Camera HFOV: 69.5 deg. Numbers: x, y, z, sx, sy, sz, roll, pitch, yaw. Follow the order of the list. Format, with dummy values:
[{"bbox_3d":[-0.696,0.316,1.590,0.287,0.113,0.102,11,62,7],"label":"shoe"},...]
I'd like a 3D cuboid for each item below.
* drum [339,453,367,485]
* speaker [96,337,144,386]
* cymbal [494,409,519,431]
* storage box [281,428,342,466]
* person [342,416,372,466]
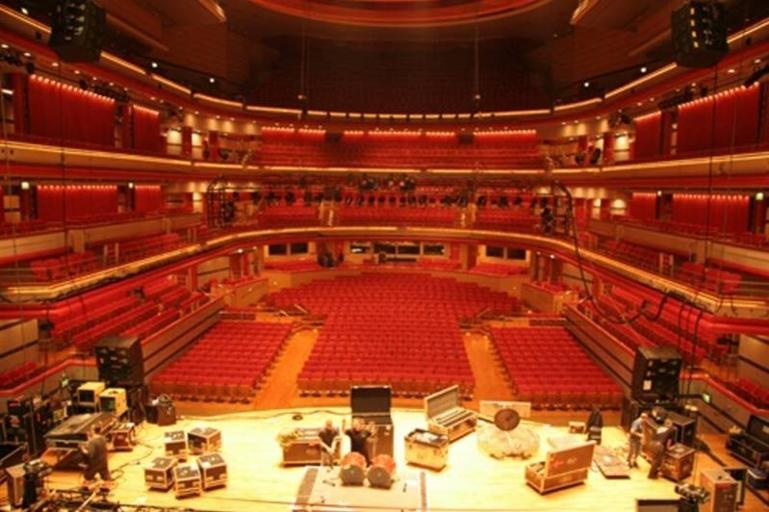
[{"bbox_3d":[-0.736,5.040,13.180,0.628,0.874,0.334,6,-55,-4],"label":"drum"},{"bbox_3d":[-7.903,3.203,16.620,1.095,0.783,1.524,6,-61,-4],"label":"speaker"},{"bbox_3d":[3.287,4.404,14.966,0.633,0.435,0.710,-6,-54,4],"label":"cymbal"},{"bbox_3d":[-2.094,4.968,14.722,1.047,1.034,0.657,1,-80,4],"label":"storage box"},{"bbox_3d":[-0.686,4.938,14.270,0.802,0.529,1.776,3,-74,2],"label":"person"}]
